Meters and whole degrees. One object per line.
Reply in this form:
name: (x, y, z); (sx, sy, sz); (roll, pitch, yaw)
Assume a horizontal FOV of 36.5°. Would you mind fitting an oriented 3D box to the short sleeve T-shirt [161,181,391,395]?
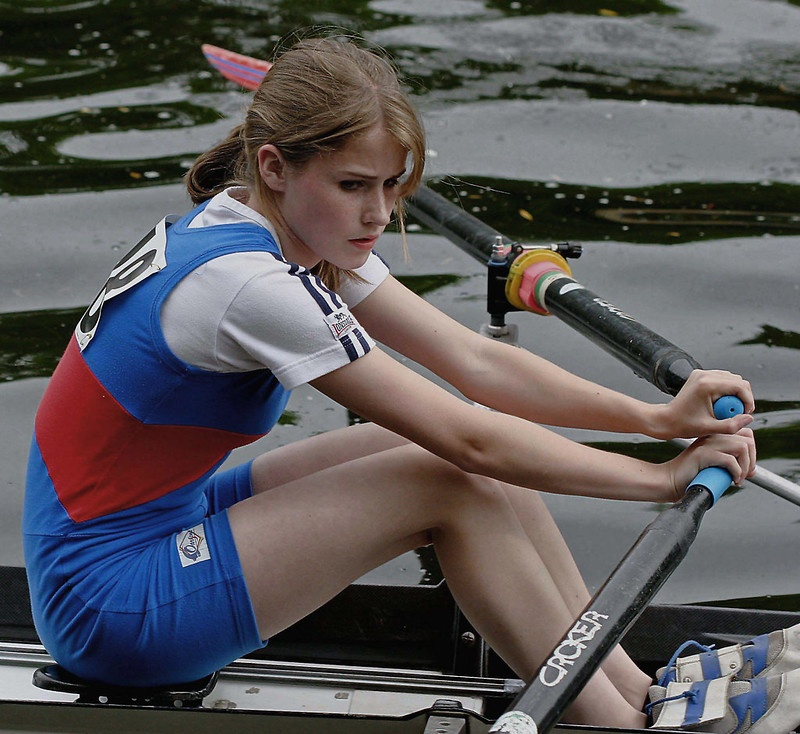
short sleeve T-shirt: (-0.277, -0.170, 2.444); (0.547, 0.159, 0.471); (2, 30, -13)
